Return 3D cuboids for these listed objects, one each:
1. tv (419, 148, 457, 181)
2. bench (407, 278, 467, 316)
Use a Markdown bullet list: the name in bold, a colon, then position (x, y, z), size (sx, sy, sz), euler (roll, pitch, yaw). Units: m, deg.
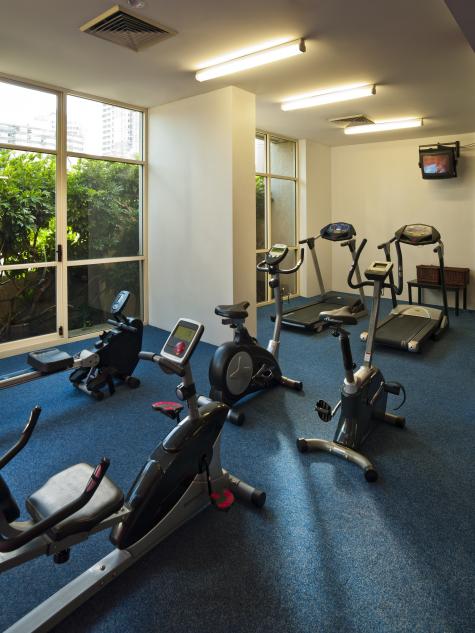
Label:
- **tv**: position (3.033, -2.301, 7.151), size (0.487, 0.425, 0.268), euler (6, 17, 32)
- **bench**: position (3.152, -0.550, 7.479), size (0.554, 0.654, 1.020), euler (-5, 8, -39)
